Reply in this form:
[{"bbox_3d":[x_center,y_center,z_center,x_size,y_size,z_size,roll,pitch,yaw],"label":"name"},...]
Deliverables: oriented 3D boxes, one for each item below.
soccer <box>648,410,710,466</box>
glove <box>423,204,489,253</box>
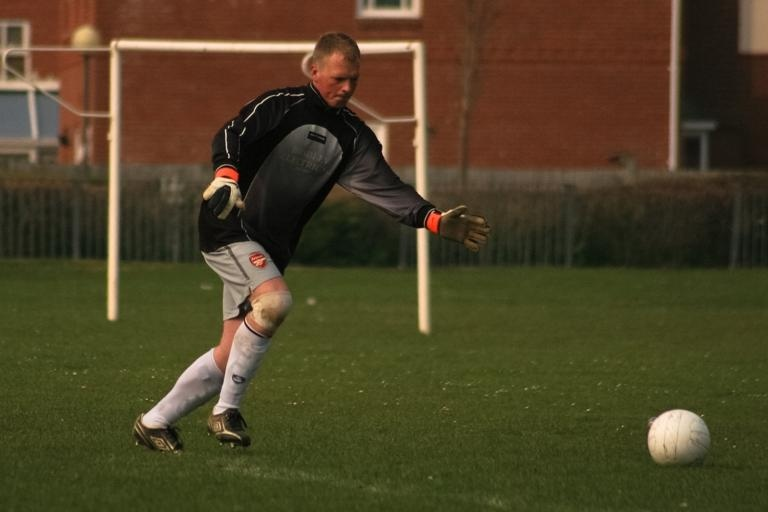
[{"bbox_3d":[2.809,1.703,13.222,0.580,0.477,0.299,2,12,11],"label":"soccer"},{"bbox_3d":[0.705,-0.296,13.262,0.599,0.433,0.216,2,12,8],"label":"glove"}]
